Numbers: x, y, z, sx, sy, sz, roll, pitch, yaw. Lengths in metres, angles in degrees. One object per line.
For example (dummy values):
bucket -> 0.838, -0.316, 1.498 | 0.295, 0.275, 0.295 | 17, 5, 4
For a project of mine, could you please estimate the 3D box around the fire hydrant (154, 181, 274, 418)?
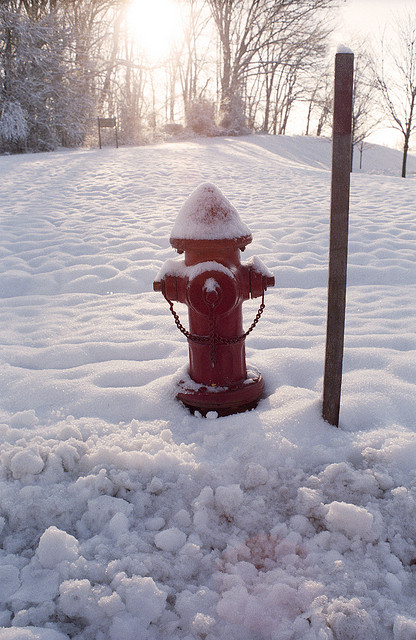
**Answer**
fire hydrant -> 0.051, -0.160, 3.509 | 0.570, 1.122, 1.094 | 1, 11, 5
